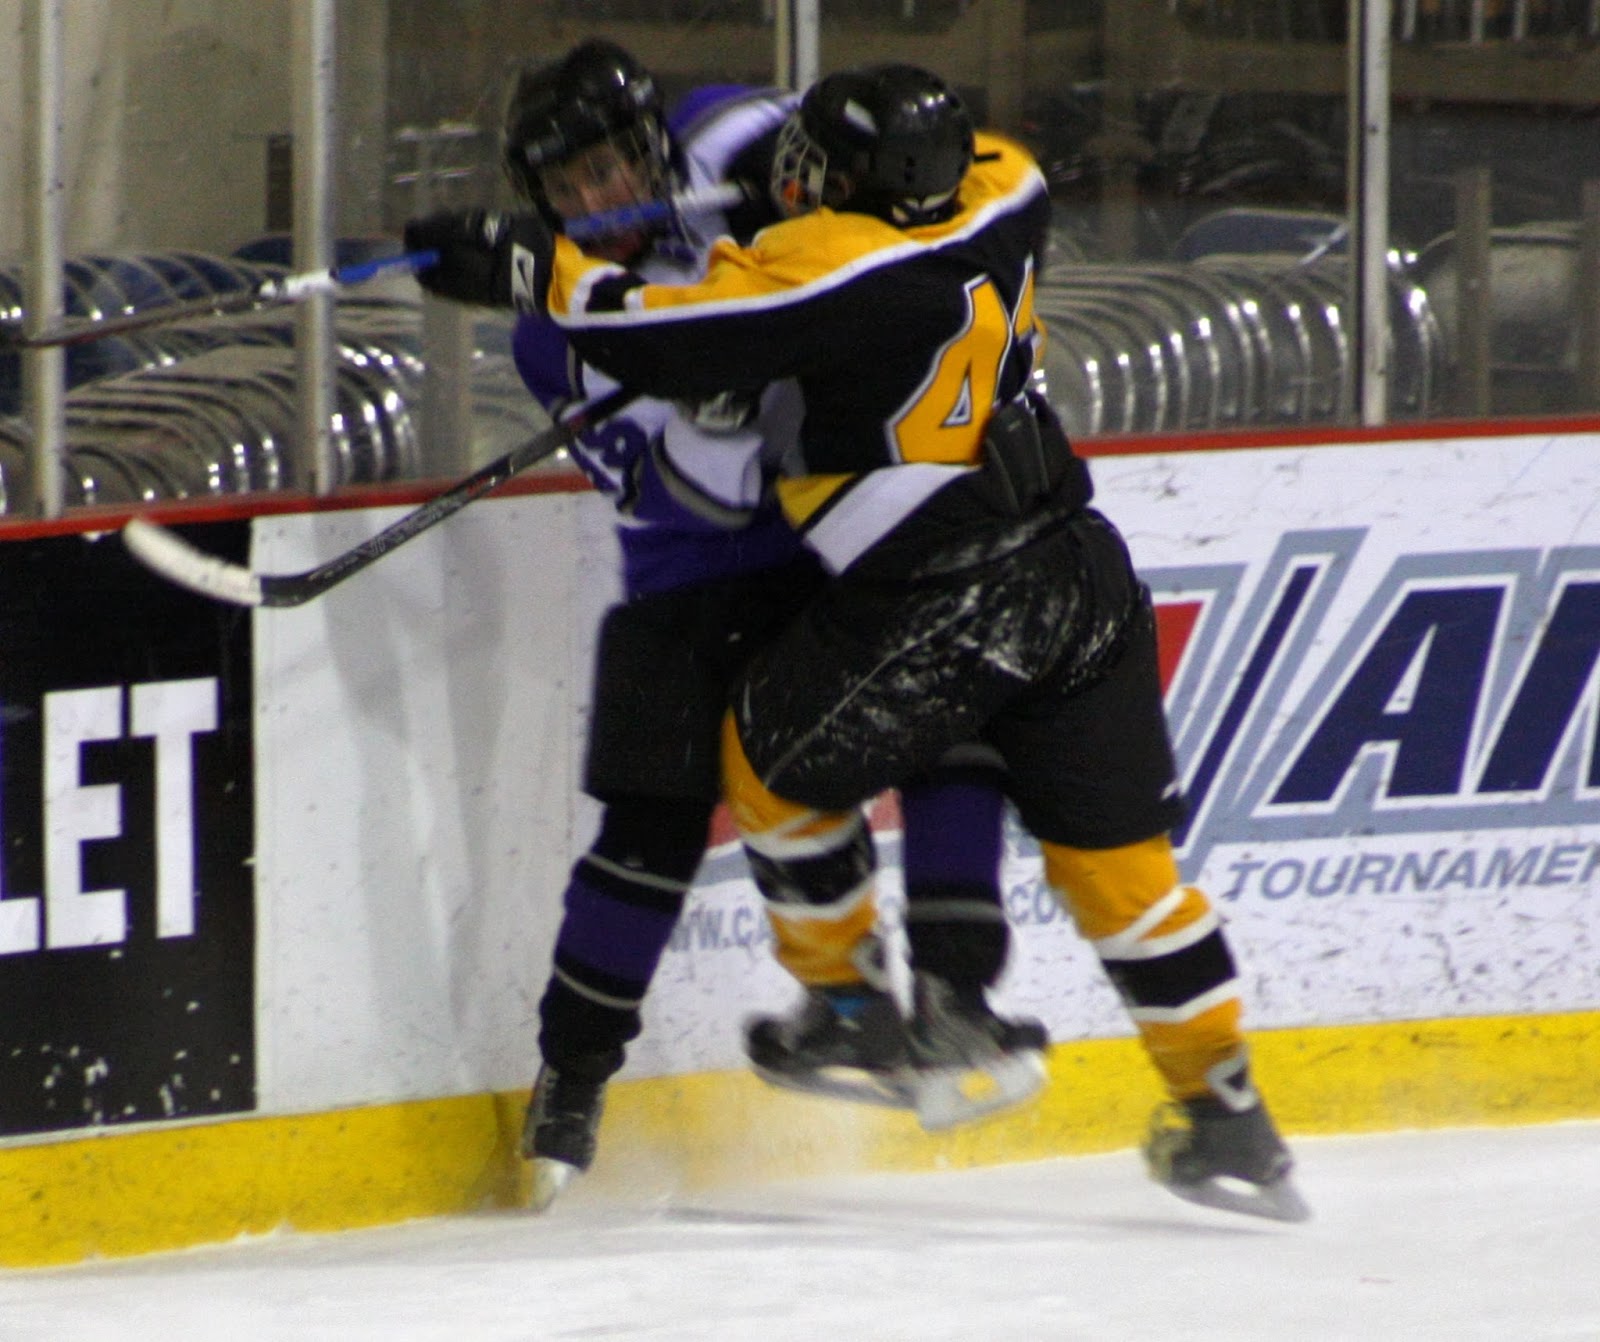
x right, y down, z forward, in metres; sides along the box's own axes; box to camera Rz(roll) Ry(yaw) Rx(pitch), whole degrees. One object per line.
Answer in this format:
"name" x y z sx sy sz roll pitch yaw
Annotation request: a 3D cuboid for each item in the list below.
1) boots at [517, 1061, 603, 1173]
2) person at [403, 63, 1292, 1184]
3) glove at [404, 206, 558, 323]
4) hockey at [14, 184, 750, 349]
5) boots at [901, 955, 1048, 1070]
"boots" -0.394 0.731 5.518 0.093 0.207 0.080 13 50 -4
"person" 0.142 -0.028 5.314 1.210 1.818 0.410 -3 10 -17
"glove" -0.476 -0.624 5.129 0.262 0.150 0.091 6 12 38
"hockey" -0.674 -0.637 5.291 1.225 0.102 0.128 -9 11 5
"boots" 0.321 0.548 5.439 0.228 0.130 0.081 6 23 33
